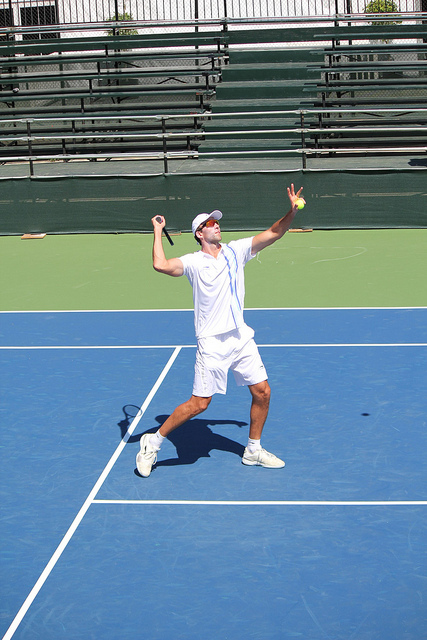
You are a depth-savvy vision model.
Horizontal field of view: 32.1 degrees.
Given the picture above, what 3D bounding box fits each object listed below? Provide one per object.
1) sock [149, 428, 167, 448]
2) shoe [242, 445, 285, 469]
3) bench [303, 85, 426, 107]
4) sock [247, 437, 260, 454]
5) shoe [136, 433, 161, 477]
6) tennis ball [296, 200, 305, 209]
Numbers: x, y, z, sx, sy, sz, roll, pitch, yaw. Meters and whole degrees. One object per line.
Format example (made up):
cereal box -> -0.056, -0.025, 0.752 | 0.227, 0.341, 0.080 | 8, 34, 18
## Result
sock -> -0.382, 0.857, 5.343 | 0.105, 0.057, 0.152 | -34, 17, 34
shoe -> 0.359, 0.995, 5.453 | 0.357, 0.153, 0.127 | 3, 14, 5
bench -> 3.419, -5.235, 17.222 | 2.635, 0.508, 1.052 | -4, 12, -9
sock -> 0.282, 0.918, 5.396 | 0.105, 0.140, 0.090 | 2, 13, 21
shoe -> -0.482, 0.986, 5.408 | 0.167, 0.343, 0.121 | -7, -7, 9
tennis ball -> 0.602, -0.812, 5.203 | 0.066, 0.054, 0.056 | 20, -7, -40
